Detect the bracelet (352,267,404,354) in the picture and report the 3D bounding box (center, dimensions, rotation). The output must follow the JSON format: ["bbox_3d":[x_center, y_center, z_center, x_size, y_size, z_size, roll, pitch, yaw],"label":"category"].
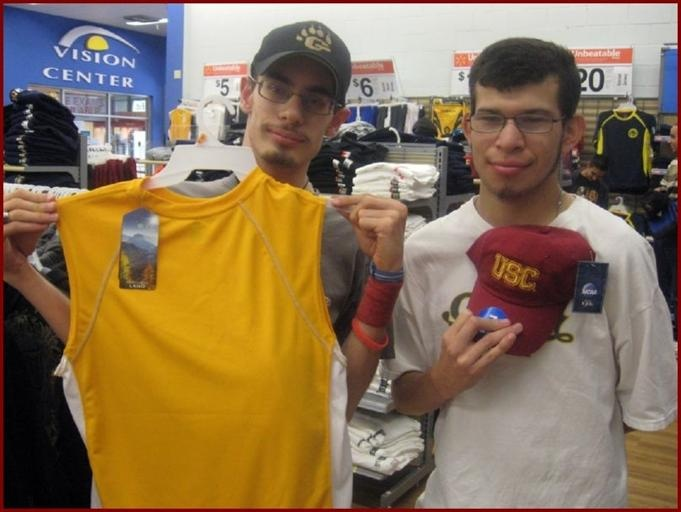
[{"bbox_3d":[0.106,0.138,1.538,0.143,0.255,0.060,7,6,11],"label":"bracelet"}]

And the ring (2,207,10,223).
[{"bbox_3d":[-0.951,-0.116,1.501,0.016,0.042,0.020,-5,10,-42],"label":"ring"}]

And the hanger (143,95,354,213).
[{"bbox_3d":[-0.280,-0.360,1.734,0.611,0.309,0.296,1,8,-6],"label":"hanger"}]

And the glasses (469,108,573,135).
[{"bbox_3d":[0.526,-0.390,1.545,0.262,0.067,0.063,2,8,6],"label":"glasses"}]

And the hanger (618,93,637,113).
[{"bbox_3d":[3.958,-2.060,7.285,0.245,0.195,0.399,5,38,20],"label":"hanger"}]
